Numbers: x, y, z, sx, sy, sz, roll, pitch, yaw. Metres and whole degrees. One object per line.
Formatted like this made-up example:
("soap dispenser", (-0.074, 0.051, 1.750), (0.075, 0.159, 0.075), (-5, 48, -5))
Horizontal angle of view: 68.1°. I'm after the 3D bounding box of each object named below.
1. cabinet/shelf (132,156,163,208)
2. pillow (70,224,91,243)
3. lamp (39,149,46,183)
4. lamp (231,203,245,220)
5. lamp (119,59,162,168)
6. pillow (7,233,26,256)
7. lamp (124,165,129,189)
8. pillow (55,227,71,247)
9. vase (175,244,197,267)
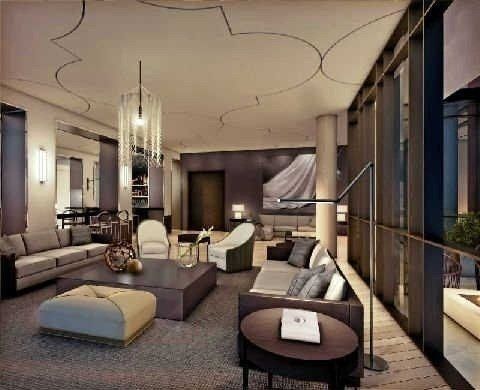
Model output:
("cabinet/shelf", (-2.574, -0.303, 9.970), (0.697, 1.554, 1.432), (-1, -2, 27))
("pillow", (-2.755, 0.684, 6.145), (0.087, 0.250, 0.242), (-26, -20, 38))
("lamp", (-3.277, -0.490, 5.922), (0.047, 0.519, 0.094), (0, 0, 9))
("lamp", (-0.140, 0.464, 10.033), (0.377, 0.570, 0.352), (1, 2, 24))
("lamp", (-1.326, -1.270, 4.720), (0.366, 0.971, 0.363), (19, 22, 37))
("pillow", (-3.226, 0.721, 5.192), (0.083, 0.305, 0.286), (-19, 1, 19))
("lamp", (-2.553, -0.412, 7.992), (0.060, 0.501, 0.207), (0, 3, 22))
("pillow", (-2.951, 0.718, 5.940), (0.086, 0.234, 0.267), (9, 0, 5))
("vase", (-0.747, 0.844, 5.025), (0.285, 0.316, 0.305), (0, -3, -9))
